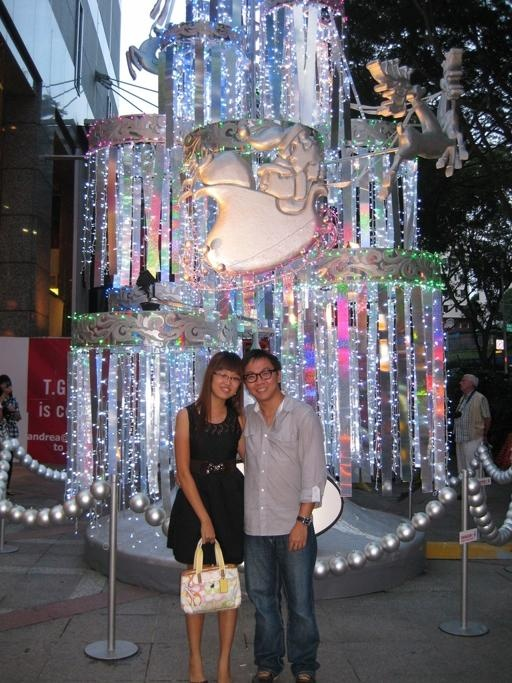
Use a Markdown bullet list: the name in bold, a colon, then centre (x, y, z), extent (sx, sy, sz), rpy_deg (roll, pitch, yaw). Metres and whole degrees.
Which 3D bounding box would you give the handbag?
- **handbag**: centre (-0.192, 0.999, 2.880), extent (0.236, 0.311, 0.120), rpy_deg (-2, 0, -7)

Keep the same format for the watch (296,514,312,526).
- **watch**: centre (0.213, 0.753, 2.923), extent (0.059, 0.030, 0.057), rpy_deg (5, -8, 3)

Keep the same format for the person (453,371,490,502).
- **person**: centre (2.400, 0.923, 7.661), extent (0.380, 1.121, 0.568), rpy_deg (-2, 0, 7)
